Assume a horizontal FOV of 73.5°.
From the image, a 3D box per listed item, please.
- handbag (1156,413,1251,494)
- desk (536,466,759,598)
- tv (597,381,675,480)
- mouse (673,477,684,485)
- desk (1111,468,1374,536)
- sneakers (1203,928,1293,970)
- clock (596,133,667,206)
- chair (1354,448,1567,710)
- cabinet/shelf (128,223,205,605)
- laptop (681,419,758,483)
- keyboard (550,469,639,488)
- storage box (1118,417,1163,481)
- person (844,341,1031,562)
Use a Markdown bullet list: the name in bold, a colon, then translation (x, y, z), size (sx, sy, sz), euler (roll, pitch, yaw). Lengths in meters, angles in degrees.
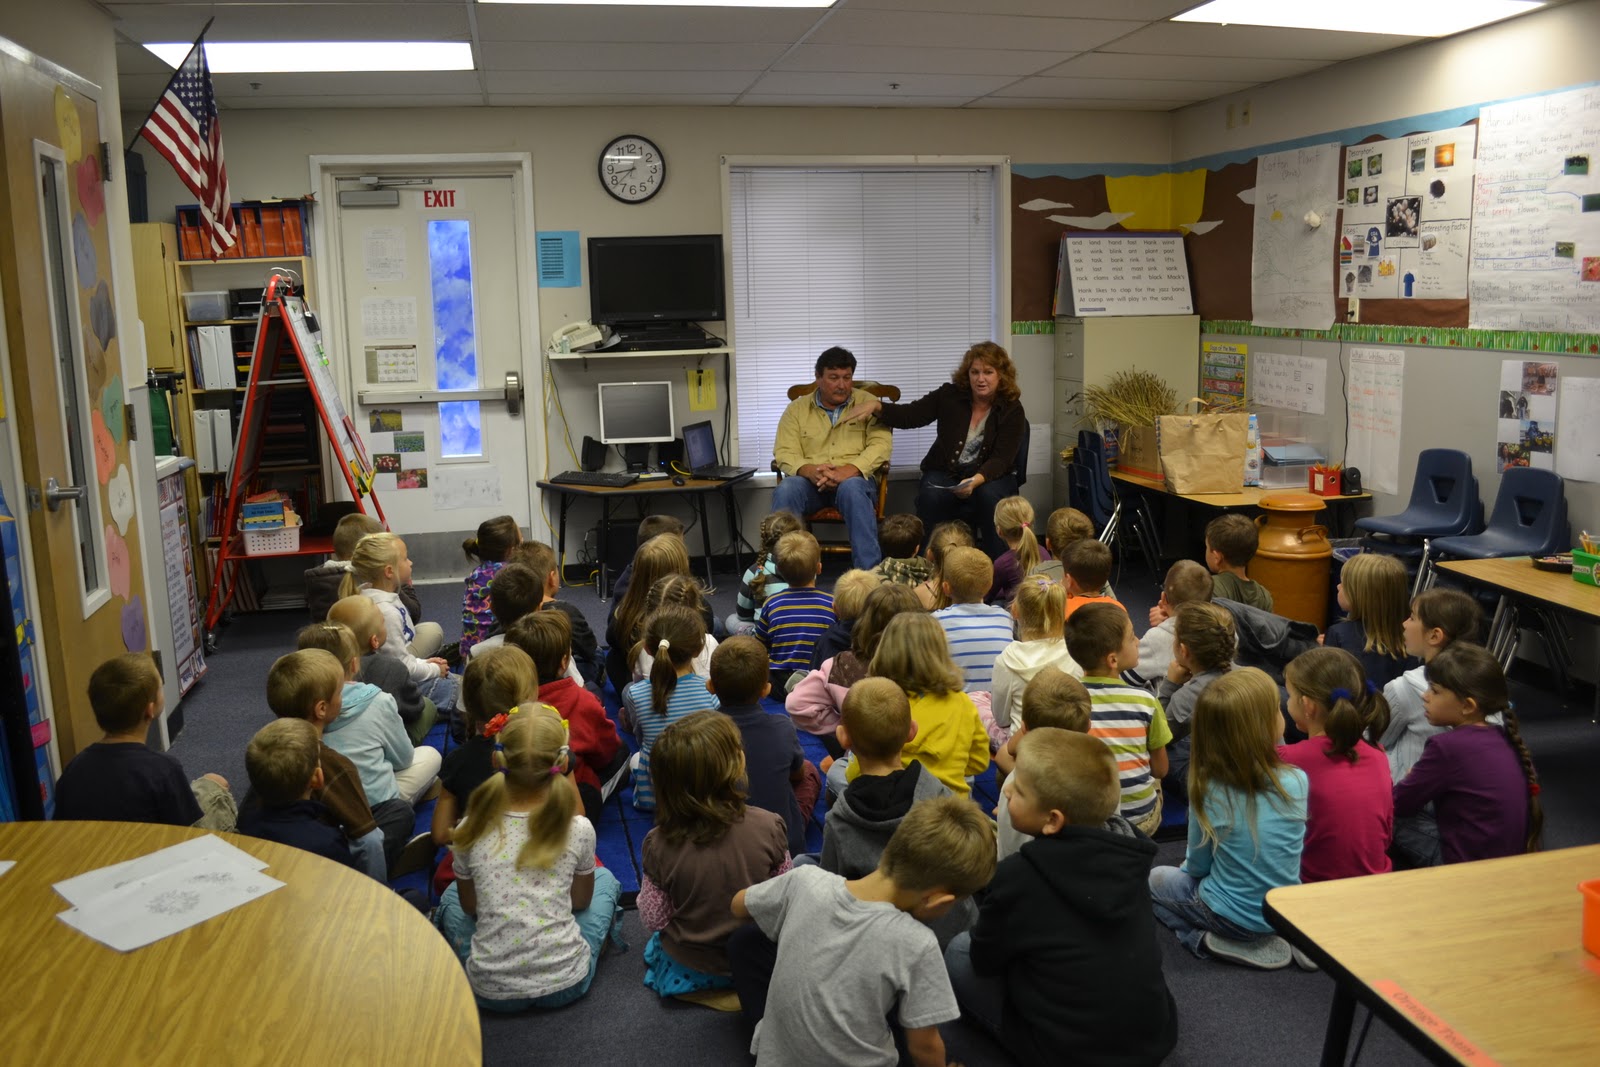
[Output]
- **handbag**: translation (2.626, -0.508, 6.940), size (0.474, 0.510, 0.198), euler (0, 1, 3)
- **desk**: translation (-1.009, -0.190, 7.685), size (1.110, 0.573, 0.926), euler (3, 4, 38)
- **tv**: translation (-1.172, -0.729, 7.585), size (0.630, 0.826, 0.255), euler (-2, 5, -10)
- **mouse**: translation (-0.832, -0.351, 7.376), size (0.060, 0.016, 0.058), euler (11, 27, 20)
- **desk**: translation (2.666, -0.194, 7.389), size (0.561, 0.219, 0.892), euler (-4, 13, -15)
- **sneakers**: translation (1.477, 1.367, 3.571), size (0.275, 0.099, 0.161), euler (0, 16, 10)
- **clock**: translation (-1.206, -2.552, 7.522), size (0.465, 0.499, 0.049), euler (-2, 12, -8)
- **chair**: translation (3.531, 0.118, 5.792), size (0.637, 0.611, 0.906), euler (-4, 7, -24)
- **cabinet/shelf**: translation (-3.901, -0.747, 6.711), size (0.267, 2.339, 0.519), euler (-7, 10, -29)
- **laptop**: translation (-0.618, -0.571, 7.722), size (0.392, 0.380, 0.544), euler (5, 8, 15)
- **keyboard**: translation (-1.402, -0.365, 7.388), size (0.605, 0.077, 0.361), euler (3, 11, 31)
- **storage box**: translation (2.355, -0.569, 7.400), size (0.302, 0.426, 0.579), euler (0, 6, -5)
- **person**: translation (0.960, -0.426, 7.465), size (1.231, 1.692, 0.979), euler (2, 8, -2)
